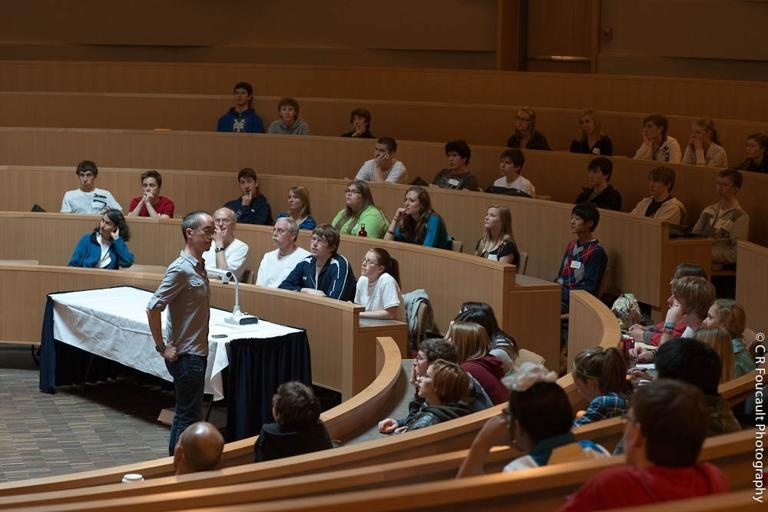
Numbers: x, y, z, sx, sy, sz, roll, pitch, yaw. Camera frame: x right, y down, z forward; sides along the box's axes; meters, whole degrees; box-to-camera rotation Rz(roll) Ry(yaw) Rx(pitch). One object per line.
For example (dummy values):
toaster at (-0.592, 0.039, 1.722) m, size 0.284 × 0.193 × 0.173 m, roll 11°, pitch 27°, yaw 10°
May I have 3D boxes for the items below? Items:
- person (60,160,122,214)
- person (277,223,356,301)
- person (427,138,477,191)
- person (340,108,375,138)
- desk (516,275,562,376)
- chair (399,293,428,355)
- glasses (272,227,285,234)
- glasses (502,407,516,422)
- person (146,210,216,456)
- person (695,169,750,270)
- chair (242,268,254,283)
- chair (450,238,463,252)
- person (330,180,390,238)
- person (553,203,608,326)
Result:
person at (-3.797, -0.856, 8.617) m, size 0.695 × 0.793 × 0.420 m, roll 1°, pitch -5°, yaw -4°
person at (-0.616, 0.082, 6.256) m, size 0.668 × 0.990 × 0.624 m, roll 3°, pitch -5°, yaw 38°
person at (0.833, -1.037, 8.018) m, size 0.746 × 0.735 × 0.455 m, roll 13°, pitch 18°, yaw 43°
person at (-0.341, -1.790, 9.320) m, size 0.384 × 0.505 × 0.859 m, roll 0°, pitch -2°, yaw -3°
desk at (1.257, 0.554, 5.373) m, size 0.307 × 0.813 × 0.806 m, roll 0°, pitch 0°, yaw -8°
chair at (0.272, 0.554, 5.860) m, size 0.138 × 0.450 × 0.317 m, roll 4°, pitch -5°, yaw -15°
glasses at (-1.020, -0.242, 6.497) m, size 0.066 × 0.057 × 0.092 m, roll -2°, pitch -4°, yaw 20°
glasses at (0.437, 0.537, 2.274) m, size 0.034 × 0.029 × 0.037 m, roll -2°, pitch 11°, yaw 1°
person at (-1.362, 0.479, 4.481) m, size 0.403 × 1.524 × 0.331 m, roll 1°, pitch -2°, yaw -12°
person at (3.244, -0.371, 6.391) m, size 0.478 × 0.850 × 0.259 m, roll -2°, pitch -3°, yaw 41°
chair at (-1.452, 0.211, 7.140) m, size 0.115 × 0.154 × 0.109 m, roll 4°, pitch 7°, yaw 32°
chair at (0.794, -0.111, 7.036) m, size 0.107 × 0.169 × 0.129 m, roll 1°, pitch -1°, yaw -12°
person at (-0.261, -0.389, 7.532) m, size 0.520 × 0.822 × 0.773 m, roll 4°, pitch -3°, yaw -43°
person at (1.872, 0.024, 6.253) m, size 0.440 × 1.013 × 0.248 m, roll 0°, pitch -2°, yaw 16°
